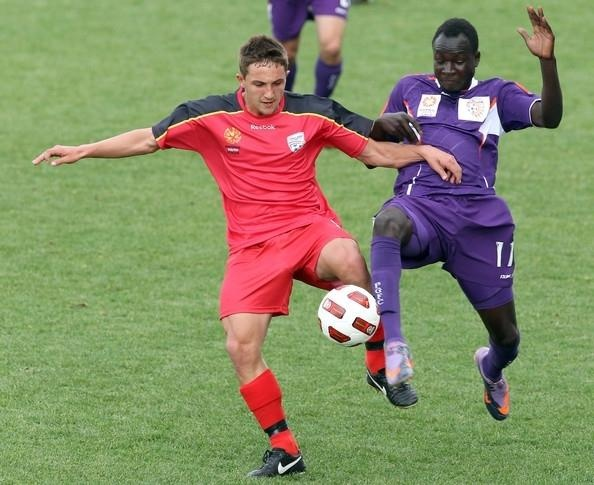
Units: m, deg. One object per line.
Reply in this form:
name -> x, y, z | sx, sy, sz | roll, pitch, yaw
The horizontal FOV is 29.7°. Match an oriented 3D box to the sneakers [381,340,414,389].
sneakers -> 0.576, 0.696, 6.493 | 0.110, 0.309, 0.136 | -7, 66, -7

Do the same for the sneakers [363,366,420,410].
sneakers -> 0.593, 0.929, 7.082 | 0.137, 0.160, 0.399 | -23, 26, -28

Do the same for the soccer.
soccer -> 0.330, 0.516, 7.075 | 0.365, 0.374, 0.361 | -9, 68, 16

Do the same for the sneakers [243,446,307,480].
sneakers -> -0.119, 1.339, 6.732 | 0.401, 0.179, 0.134 | 0, -1, -6

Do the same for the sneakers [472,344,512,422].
sneakers -> 1.268, 0.897, 7.257 | 0.170, 0.496, 0.212 | -14, -3, -15

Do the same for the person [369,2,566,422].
person -> 1.037, -0.089, 6.950 | 1.095, 2.268, 1.528 | 1, 37, 13
